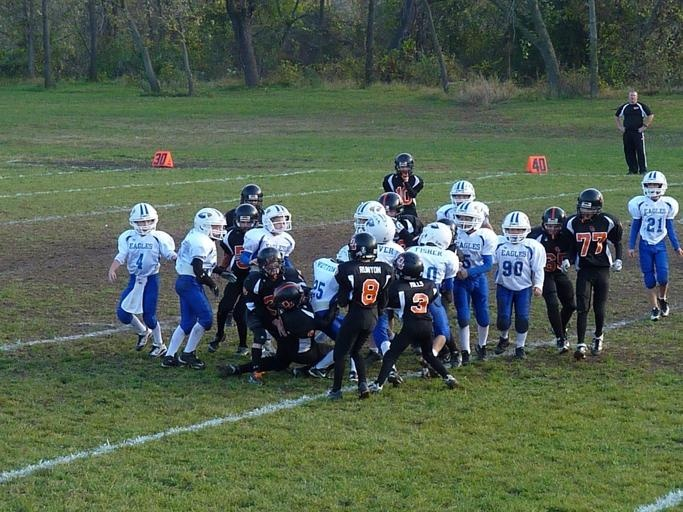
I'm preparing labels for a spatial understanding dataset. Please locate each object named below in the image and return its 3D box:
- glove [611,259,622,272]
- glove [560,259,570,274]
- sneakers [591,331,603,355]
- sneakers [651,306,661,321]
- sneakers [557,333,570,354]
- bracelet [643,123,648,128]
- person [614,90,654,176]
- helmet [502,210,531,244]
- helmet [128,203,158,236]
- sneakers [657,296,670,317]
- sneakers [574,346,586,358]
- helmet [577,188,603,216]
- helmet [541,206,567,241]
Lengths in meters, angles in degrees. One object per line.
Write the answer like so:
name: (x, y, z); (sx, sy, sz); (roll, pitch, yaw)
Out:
glove: (4.419, 0.149, 17.773); (0.140, 0.159, 0.393); (4, -7, 7)
glove: (3.527, 0.151, 17.484); (0.097, 0.223, 0.169); (-1, 15, -44)
sneakers: (3.953, 1.371, 17.200); (0.137, 0.162, 0.411); (3, 56, 17)
sneakers: (5.161, 0.954, 18.256); (0.105, 0.126, 0.296); (2, 18, 14)
sneakers: (3.442, 1.355, 17.300); (0.176, 0.287, 0.254); (-2, 8, 11)
bracelet: (7.773, -3.360, 28.487); (0.158, 0.045, 0.156); (-26, -13, 4)
person: (7.555, -3.227, 28.680); (0.826, 2.147, 1.129); (-1, 8, 13)
helmet: (2.723, -0.460, 17.444); (0.384, 0.407, 0.504); (0, 3, 18)
helmet: (-3.143, -0.609, 17.647); (0.449, 0.451, 0.550); (-3, 8, -24)
sneakers: (5.377, 0.823, 18.526); (0.138, 0.152, 0.385); (-4, 50, 3)
sneakers: (3.624, 1.448, 16.893); (0.125, 0.188, 0.188); (-1, 28, 16)
helmet: (3.922, -0.861, 17.653); (0.347, 0.372, 0.457); (8, 55, 23)
helmet: (3.367, -0.555, 17.688); (0.353, 0.440, 0.465); (0, 15, 14)
